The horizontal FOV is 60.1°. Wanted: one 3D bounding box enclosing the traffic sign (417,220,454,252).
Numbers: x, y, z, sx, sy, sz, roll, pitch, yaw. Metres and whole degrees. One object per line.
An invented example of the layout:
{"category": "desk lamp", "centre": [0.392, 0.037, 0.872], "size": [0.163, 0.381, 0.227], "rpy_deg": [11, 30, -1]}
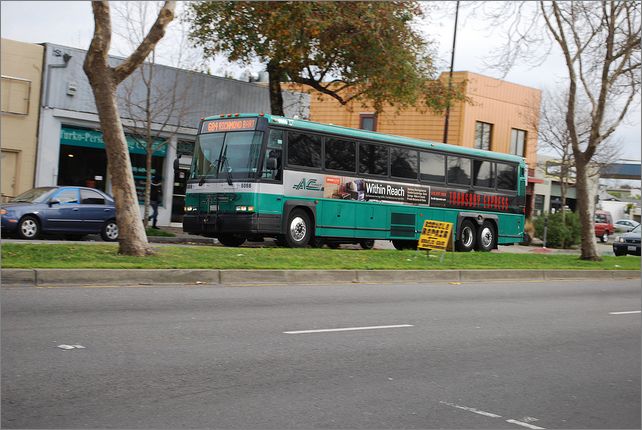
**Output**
{"category": "traffic sign", "centre": [4.051, 0.748, 19.818], "size": [1.515, 1.100, 0.704], "rpy_deg": [1, -19, 39]}

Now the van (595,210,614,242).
{"category": "van", "centre": [27.449, 1.098, 54.125], "size": [1.372, 3.172, 4.130], "rpy_deg": [0, -3, 29]}

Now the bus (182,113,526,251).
{"category": "bus", "centre": [1.916, -1.039, 25.223], "size": [19.165, 4.326, 5.273], "rpy_deg": [3, -3, -35]}

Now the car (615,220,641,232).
{"category": "car", "centre": [32.982, 1.184, 60.347], "size": [3.740, 1.000, 1.547], "rpy_deg": [2, 2, 16]}
